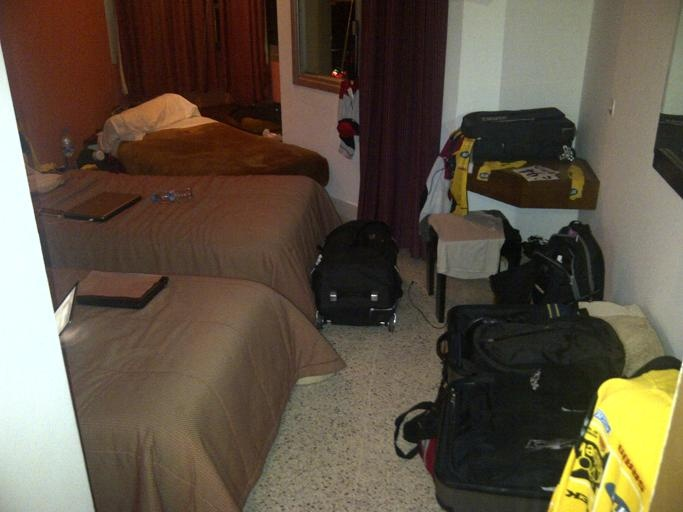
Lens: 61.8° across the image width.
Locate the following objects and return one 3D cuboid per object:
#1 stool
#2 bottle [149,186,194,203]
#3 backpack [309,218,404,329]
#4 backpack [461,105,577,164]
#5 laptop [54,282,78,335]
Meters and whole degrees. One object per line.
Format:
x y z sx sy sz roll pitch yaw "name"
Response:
0.743 -0.014 3.595 0.649 0.620 0.636 -2 34 2 "stool"
-1.071 -0.381 3.549 0.265 0.093 0.102 -10 66 -8 "bottle"
0.090 0.087 3.513 0.414 0.305 0.701 0 42 4 "backpack"
1.044 -0.707 3.340 0.453 0.203 0.370 -3 39 5 "backpack"
-0.885 0.171 1.824 0.017 0.182 0.234 15 -4 -17 "laptop"
